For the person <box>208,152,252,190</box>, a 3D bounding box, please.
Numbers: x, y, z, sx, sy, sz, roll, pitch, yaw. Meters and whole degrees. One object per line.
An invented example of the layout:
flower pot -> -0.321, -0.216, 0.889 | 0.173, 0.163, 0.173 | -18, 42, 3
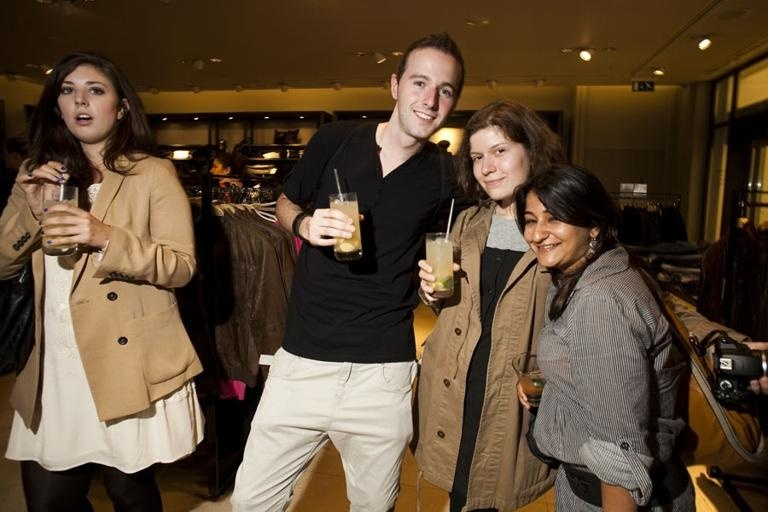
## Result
person -> -2.608, -1.384, 8.745 | 0.578, 0.791, 0.595 | -3, 15, -4

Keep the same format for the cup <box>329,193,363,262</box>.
cup -> -0.172, -0.130, 2.355 | 0.185, 0.310, 0.191 | -2, 6, 0

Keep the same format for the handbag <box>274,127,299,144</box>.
handbag -> -1.741, -2.145, 9.445 | 0.344, 0.313, 0.114 | -1, -11, 4

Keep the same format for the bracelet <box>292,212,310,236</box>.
bracelet -> -0.385, -0.148, 2.485 | 0.038, 0.105, 0.093 | 5, 24, 5

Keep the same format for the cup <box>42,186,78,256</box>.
cup -> -1.408, -0.158, 2.330 | 0.131, 0.317, 0.202 | 3, 8, 0
